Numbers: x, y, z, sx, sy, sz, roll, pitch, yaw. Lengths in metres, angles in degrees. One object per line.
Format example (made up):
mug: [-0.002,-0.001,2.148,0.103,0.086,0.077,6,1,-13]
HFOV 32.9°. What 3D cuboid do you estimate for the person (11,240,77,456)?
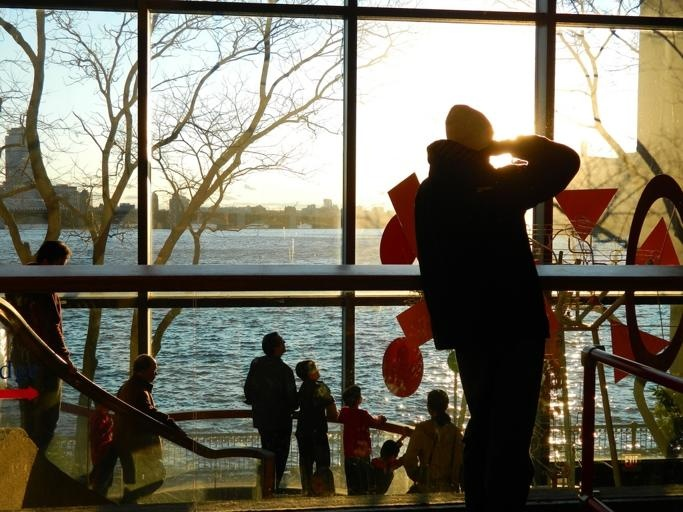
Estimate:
person: [-1.364,0.524,5.157,0.300,0.714,0.218,5,-9,-28]
